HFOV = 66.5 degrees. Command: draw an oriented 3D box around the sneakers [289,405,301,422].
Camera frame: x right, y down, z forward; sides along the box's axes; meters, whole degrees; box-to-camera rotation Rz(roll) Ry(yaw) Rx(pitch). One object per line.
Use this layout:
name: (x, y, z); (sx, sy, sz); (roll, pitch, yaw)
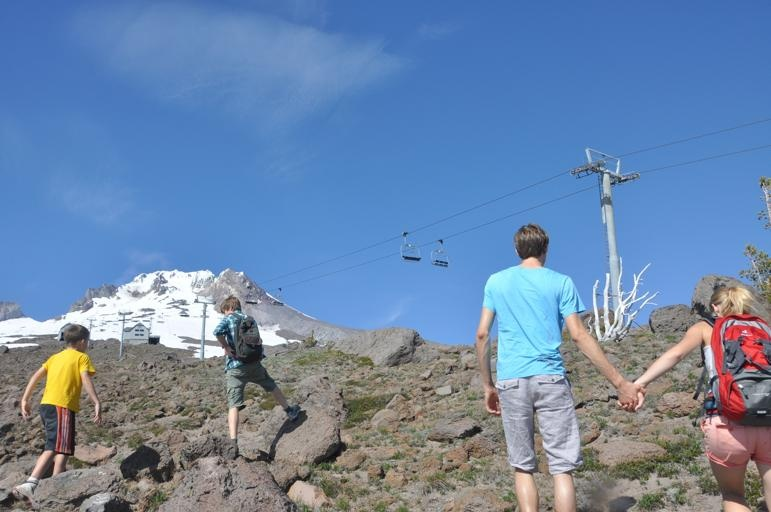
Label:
sneakers: (-2.125, 3.674, 13.697); (0.158, 0.290, 0.431); (-7, 16, 17)

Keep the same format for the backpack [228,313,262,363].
backpack: (-3.040, 1.847, 13.064); (0.624, 1.065, 0.476); (1, -17, -14)
